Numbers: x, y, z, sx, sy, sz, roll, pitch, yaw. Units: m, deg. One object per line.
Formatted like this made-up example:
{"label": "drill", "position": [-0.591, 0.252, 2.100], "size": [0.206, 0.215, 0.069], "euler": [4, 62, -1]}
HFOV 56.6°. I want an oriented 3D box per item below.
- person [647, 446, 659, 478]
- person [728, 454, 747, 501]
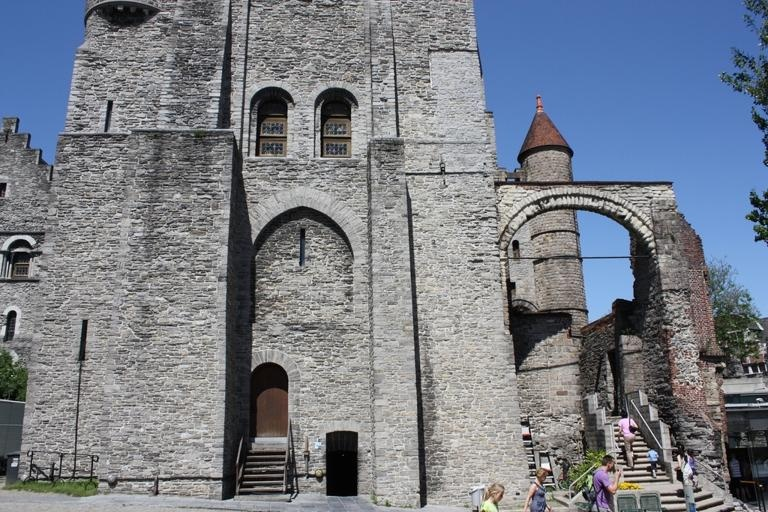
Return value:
{"label": "person", "position": [11.433, 8.810, 30.332], "size": [0.473, 1.162, 0.672], "euler": [-5, -16, 17]}
{"label": "person", "position": [15.886, 9.978, 32.317], "size": [0.452, 1.904, 0.985], "euler": [-7, -17, 23]}
